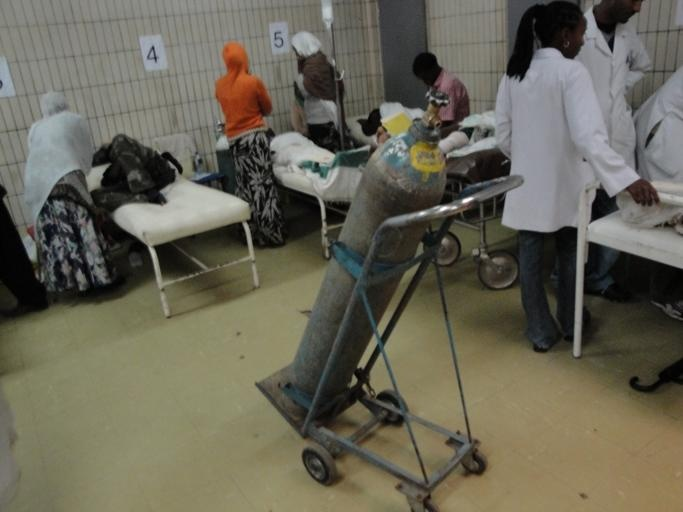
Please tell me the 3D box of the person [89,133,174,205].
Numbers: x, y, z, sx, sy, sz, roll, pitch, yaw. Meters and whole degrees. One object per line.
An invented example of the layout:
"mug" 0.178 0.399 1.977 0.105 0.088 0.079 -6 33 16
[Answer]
"person" -2.264 -0.845 5.456 0.693 0.465 0.881 -25 24 3

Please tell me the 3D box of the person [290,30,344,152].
"person" -0.290 -1.944 6.079 0.441 1.408 0.920 -24 27 -35

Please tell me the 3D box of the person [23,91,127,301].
"person" -2.587 -0.460 4.684 0.755 1.556 0.547 -19 25 -25
